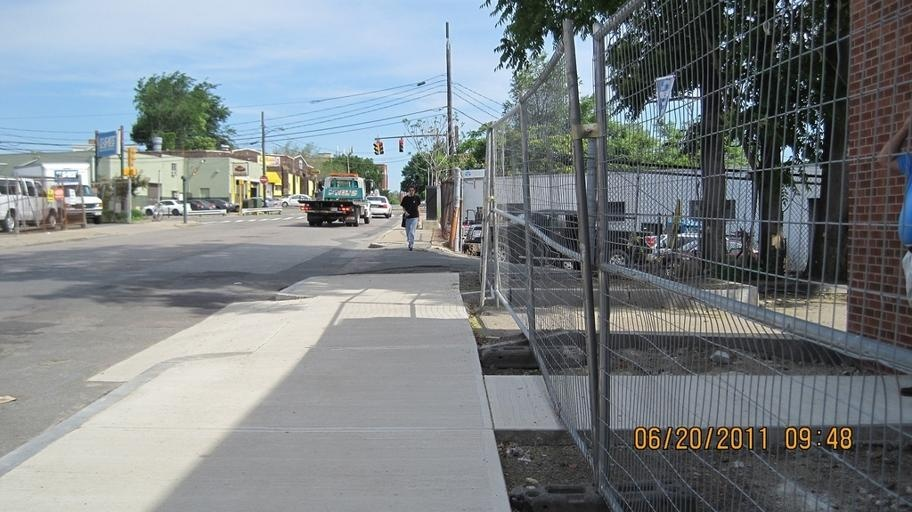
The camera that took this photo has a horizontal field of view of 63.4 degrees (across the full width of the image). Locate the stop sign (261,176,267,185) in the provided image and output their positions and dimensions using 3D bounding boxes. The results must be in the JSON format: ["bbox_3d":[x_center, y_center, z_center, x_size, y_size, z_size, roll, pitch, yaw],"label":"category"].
[{"bbox_3d":[-18.883,-7.479,72.667,1.030,0.725,1.014,0,-1,-9],"label":"stop sign"}]

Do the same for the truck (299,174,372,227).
[{"bbox_3d":[-6.049,-2.760,38.277,2.242,1.884,4.065,1,11,4],"label":"truck"}]
